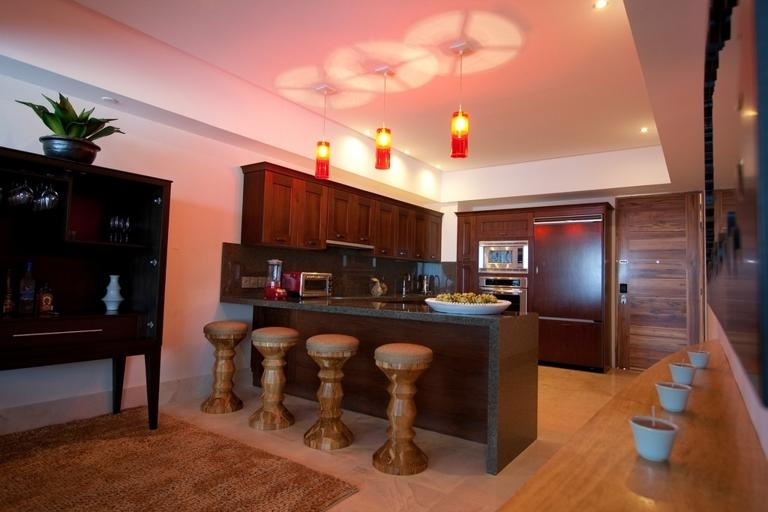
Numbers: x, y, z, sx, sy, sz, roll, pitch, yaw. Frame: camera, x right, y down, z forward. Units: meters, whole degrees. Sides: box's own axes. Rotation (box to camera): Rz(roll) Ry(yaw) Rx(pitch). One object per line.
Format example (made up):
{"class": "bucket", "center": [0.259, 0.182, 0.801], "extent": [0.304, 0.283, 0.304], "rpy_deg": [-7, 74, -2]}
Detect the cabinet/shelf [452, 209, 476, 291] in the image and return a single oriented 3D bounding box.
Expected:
{"class": "cabinet/shelf", "center": [1.247, -0.066, 7.476], "extent": [0.392, 1.178, 0.270], "rpy_deg": [5, 7, 25]}

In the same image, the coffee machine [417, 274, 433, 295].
{"class": "coffee machine", "center": [0.660, 0.448, 7.888], "extent": [0.167, 0.303, 0.293], "rpy_deg": [8, 8, 44]}

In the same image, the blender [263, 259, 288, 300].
{"class": "blender", "center": [-1.128, 0.260, 5.109], "extent": [0.259, 0.436, 0.371], "rpy_deg": [-2, -4, 18]}

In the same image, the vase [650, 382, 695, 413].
{"class": "vase", "center": [1.238, 0.607, 2.154], "extent": [0.123, 0.085, 0.125], "rpy_deg": [-3, -7, 36]}

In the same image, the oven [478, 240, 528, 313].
{"class": "oven", "center": [1.758, 0.359, 7.301], "extent": [0.831, 1.177, 0.618], "rpy_deg": [0, 9, 13]}

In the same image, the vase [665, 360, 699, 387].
{"class": "vase", "center": [1.423, 0.558, 2.380], "extent": [0.127, 0.086, 0.125], "rpy_deg": [3, -7, -8]}

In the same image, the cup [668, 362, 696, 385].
{"class": "cup", "center": [1.403, 0.552, 2.353], "extent": [0.110, 0.077, 0.108], "rpy_deg": [2, -6, 0]}

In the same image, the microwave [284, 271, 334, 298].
{"class": "microwave", "center": [-0.827, 0.316, 5.410], "extent": [0.525, 0.287, 0.348], "rpy_deg": [0, 6, -14]}

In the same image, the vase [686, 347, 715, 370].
{"class": "vase", "center": [1.664, 0.541, 2.639], "extent": [0.150, 0.112, 0.156], "rpy_deg": [-2, -4, 27]}

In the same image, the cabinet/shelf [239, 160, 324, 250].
{"class": "cabinet/shelf", "center": [-1.074, -0.494, 5.464], "extent": [0.432, 0.837, 1.027], "rpy_deg": [2, -2, 33]}

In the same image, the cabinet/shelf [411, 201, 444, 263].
{"class": "cabinet/shelf", "center": [0.651, -0.346, 7.516], "extent": [0.398, 0.850, 0.927], "rpy_deg": [-4, -6, 32]}

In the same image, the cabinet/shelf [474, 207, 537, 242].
{"class": "cabinet/shelf", "center": [1.754, -0.428, 7.201], "extent": [0.746, 0.442, 0.428], "rpy_deg": [-3, -8, 35]}

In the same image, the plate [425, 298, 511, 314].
{"class": "plate", "center": [0.618, 0.386, 3.703], "extent": [0.598, 0.113, 0.278], "rpy_deg": [2, 6, 7]}

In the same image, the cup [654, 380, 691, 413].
{"class": "cup", "center": [1.252, 0.604, 2.148], "extent": [0.123, 0.085, 0.124], "rpy_deg": [0, -5, 0]}

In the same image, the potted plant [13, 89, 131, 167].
{"class": "potted plant", "center": [-2.440, -0.969, 3.783], "extent": [0.609, 0.531, 0.453], "rpy_deg": [5, 7, 27]}

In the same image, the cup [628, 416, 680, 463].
{"class": "cup", "center": [1.009, 0.668, 1.848], "extent": [0.159, 0.126, 0.155], "rpy_deg": [0, -9, 0]}

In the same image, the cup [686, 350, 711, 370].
{"class": "cup", "center": [1.646, 0.537, 2.613], "extent": [0.122, 0.091, 0.126], "rpy_deg": [0, -3, 0]}

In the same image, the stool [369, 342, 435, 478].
{"class": "stool", "center": [0.125, 1.078, 3.513], "extent": [0.397, 0.839, 0.334], "rpy_deg": [2, 6, 0]}
